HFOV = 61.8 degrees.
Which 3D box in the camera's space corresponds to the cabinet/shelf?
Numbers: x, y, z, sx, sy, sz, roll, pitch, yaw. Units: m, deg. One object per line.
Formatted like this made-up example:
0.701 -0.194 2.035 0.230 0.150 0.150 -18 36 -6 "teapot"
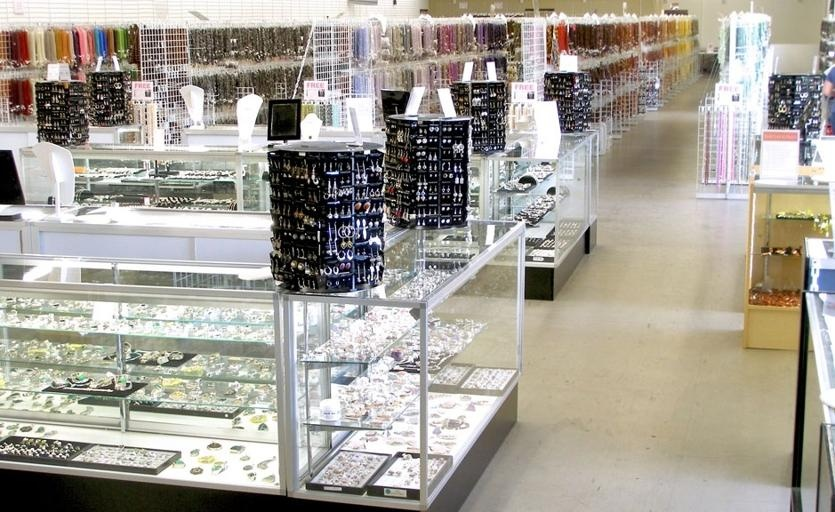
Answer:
3.333 0.062 6.371 0.714 1.500 0.601 4 14 13 "cabinet/shelf"
